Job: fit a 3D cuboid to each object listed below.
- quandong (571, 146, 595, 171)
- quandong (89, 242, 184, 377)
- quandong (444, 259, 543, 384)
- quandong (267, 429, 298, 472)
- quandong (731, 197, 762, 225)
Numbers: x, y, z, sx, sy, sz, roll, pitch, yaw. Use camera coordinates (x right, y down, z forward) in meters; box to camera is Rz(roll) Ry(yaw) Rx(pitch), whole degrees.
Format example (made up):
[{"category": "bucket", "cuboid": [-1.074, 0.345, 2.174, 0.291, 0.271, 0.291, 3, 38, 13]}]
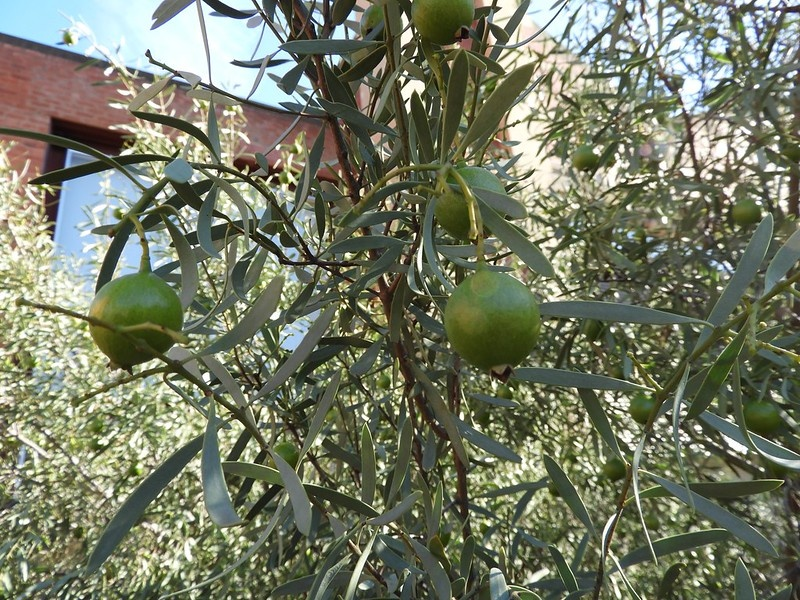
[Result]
[{"category": "quandong", "cuboid": [0.485, -0.371, 1.830, 0.059, 0.074, 0.061, -2, -10, -5]}, {"category": "quandong", "cuboid": [-0.395, 0.012, 1.034, 0.131, 0.199, 0.134, -1, -11, 36]}, {"category": "quandong", "cuboid": [0.135, 0.031, 1.015, 0.158, 0.173, 0.129, -18, 18, -31]}, {"category": "quandong", "cuboid": [-0.206, 0.265, 1.200, 0.059, 0.077, 0.062, -12, -14, 18]}, {"category": "quandong", "cuboid": [0.855, -0.219, 1.710, 0.063, 0.065, 0.065, 3, -58, 9]}]
